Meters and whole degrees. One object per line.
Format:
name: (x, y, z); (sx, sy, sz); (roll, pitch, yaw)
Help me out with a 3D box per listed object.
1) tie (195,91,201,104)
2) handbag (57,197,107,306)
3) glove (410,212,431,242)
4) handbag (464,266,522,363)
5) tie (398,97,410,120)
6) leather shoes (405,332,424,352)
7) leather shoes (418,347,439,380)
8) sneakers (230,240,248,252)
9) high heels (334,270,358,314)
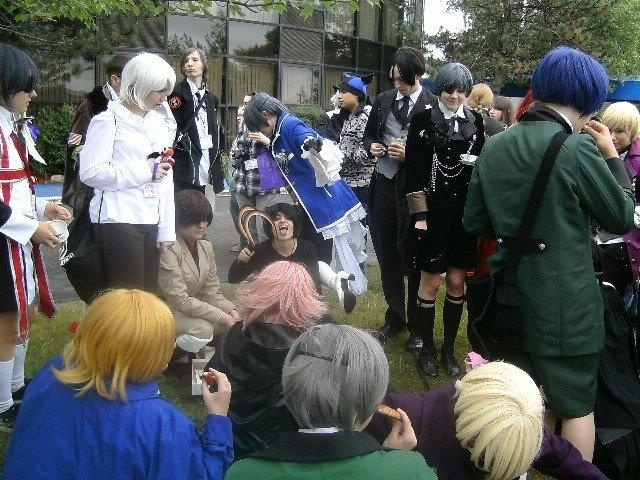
tie: (-1.407, -1.654, 5.825); (0.030, 0.115, 0.086); (0, 8, 33)
handbag: (-1.544, 0.112, 3.276); (0.240, 0.697, 0.465); (-2, 12, -34)
glove: (0.770, -0.099, 3.846); (0.205, 0.183, 0.334); (0, -8, 10)
handbag: (0.917, 0.433, 2.725); (0.260, 0.569, 0.489); (6, 10, 8)
tie: (0.729, -1.131, 4.347); (0.078, 0.218, 0.042); (14, 13, 40)
leather shoes: (0.838, 0.905, 4.416); (0.151, 0.130, 0.277); (-3, -20, 5)
leather shoes: (0.879, 1.001, 4.058); (0.104, 0.120, 0.281); (2, 20, -9)
sneakers: (-1.156, 0.094, 7.140); (0.265, 0.179, 0.090); (5, 26, 20)
high heels: (0.179, 0.380, 3.759); (0.156, 0.119, 0.350); (-11, 44, -17)
